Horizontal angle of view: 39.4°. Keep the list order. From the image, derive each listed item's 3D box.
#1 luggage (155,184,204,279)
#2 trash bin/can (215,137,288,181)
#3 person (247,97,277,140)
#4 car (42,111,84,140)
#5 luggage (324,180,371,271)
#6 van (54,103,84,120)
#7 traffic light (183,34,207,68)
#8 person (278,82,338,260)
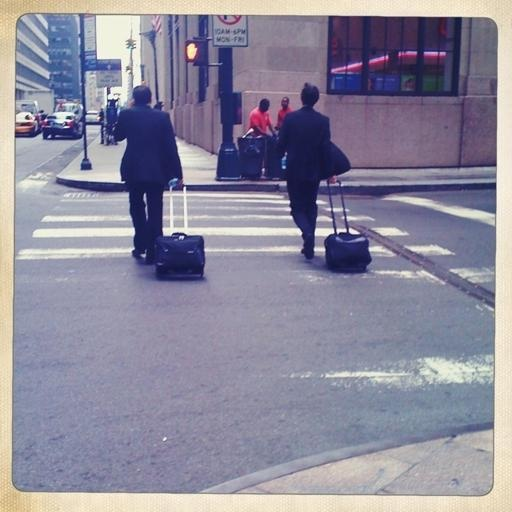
[{"bbox_3d":[-0.887,-0.192,8.143,0.535,1.044,0.470,0,-22,-10],"label":"luggage"},{"bbox_3d":[0.077,-2.346,17.149,1.055,1.049,0.678,0,10,-1],"label":"trash bin/can"},{"bbox_3d":[0.195,-3.325,17.214,0.737,0.880,0.824,9,14,43],"label":"person"},{"bbox_3d":[-10.647,-7.039,38.789,1.204,1.409,2.856,2,11,13],"label":"car"},{"bbox_3d":[1.080,-0.347,8.443,0.527,1.023,0.694,-1,10,-8],"label":"luggage"},{"bbox_3d":[-11.486,-8.848,43.625,1.331,1.416,2.395,0,19,-5],"label":"van"},{"bbox_3d":[-1.437,-4.810,16.789,0.516,0.899,0.615,6,10,43],"label":"traffic light"},{"bbox_3d":[0.604,-1.050,8.952,0.674,2.172,0.545,0,9,2],"label":"person"}]
